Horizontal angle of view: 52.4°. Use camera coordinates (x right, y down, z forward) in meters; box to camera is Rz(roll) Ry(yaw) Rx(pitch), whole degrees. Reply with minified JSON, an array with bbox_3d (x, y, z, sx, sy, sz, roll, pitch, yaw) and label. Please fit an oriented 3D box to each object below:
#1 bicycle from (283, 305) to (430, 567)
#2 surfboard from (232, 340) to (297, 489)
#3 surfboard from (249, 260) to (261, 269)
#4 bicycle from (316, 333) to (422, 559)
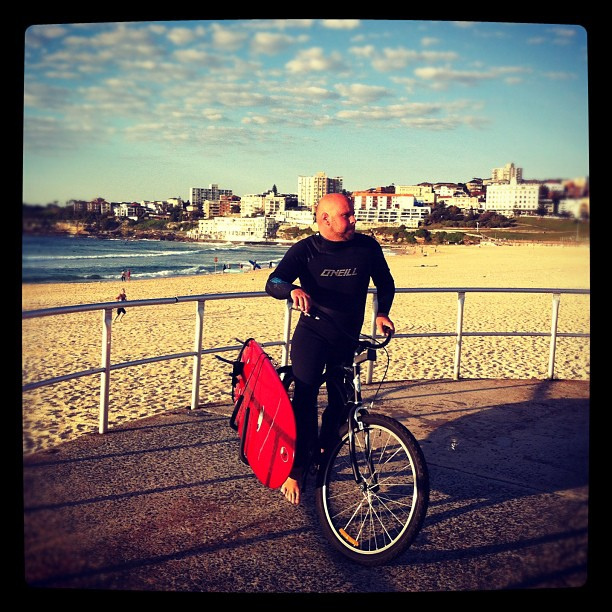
[{"bbox_3d":[0.286,0.605,3.110,0.611,1.151,0.896,3,12,-1],"label":"bicycle"},{"bbox_3d":[-0.249,0.576,3.262,0.143,0.291,0.946,14,15,-30],"label":"surfboard"},{"bbox_3d":[-4.154,-3.284,50.399,0.585,0.377,1.754,-23,32,-17],"label":"surfboard"},{"bbox_3d":[0.314,0.674,3.119,0.528,1.014,0.865,3,12,1],"label":"bicycle"}]
